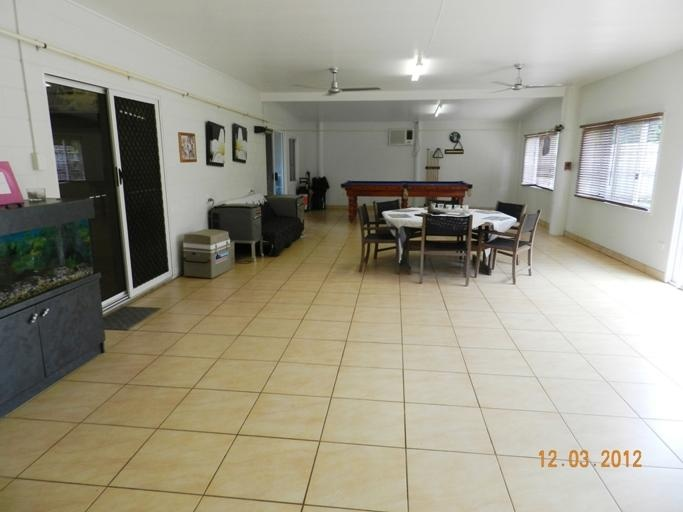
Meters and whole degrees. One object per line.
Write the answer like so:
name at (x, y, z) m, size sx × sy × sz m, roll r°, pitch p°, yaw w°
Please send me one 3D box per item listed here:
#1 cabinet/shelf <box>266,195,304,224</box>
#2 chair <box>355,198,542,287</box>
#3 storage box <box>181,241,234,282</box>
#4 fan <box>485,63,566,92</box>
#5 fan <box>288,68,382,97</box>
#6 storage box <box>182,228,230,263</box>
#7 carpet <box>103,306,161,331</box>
cabinet/shelf at (-0.998, -0.869, 8.529) m, size 0.497 × 0.417 × 0.513 m, roll 2°, pitch 9°, yaw 3°
chair at (1.419, -0.239, 6.428) m, size 2.296 × 0.885 × 1.590 m, roll 0°, pitch 13°, yaw 0°
storage box at (-1.809, -0.023, 6.244) m, size 0.440 × 0.416 × 0.631 m, roll 2°, pitch 10°, yaw 9°
fan at (2.962, -2.803, 7.548) m, size 1.017 × 0.370 × 0.968 m, roll 5°, pitch 15°, yaw 13°
fan at (-0.112, -2.841, 7.659) m, size 1.467 × 0.596 × 0.387 m, roll -5°, pitch 29°, yaw -6°
storage box at (-1.793, -0.148, 6.183) m, size 0.416 × 0.362 × 0.531 m, roll 2°, pitch 10°, yaw 12°
carpet at (-2.190, 0.623, 4.782) m, size 0.442 × 0.047 × 0.591 m, roll 1°, pitch 13°, yaw 3°
